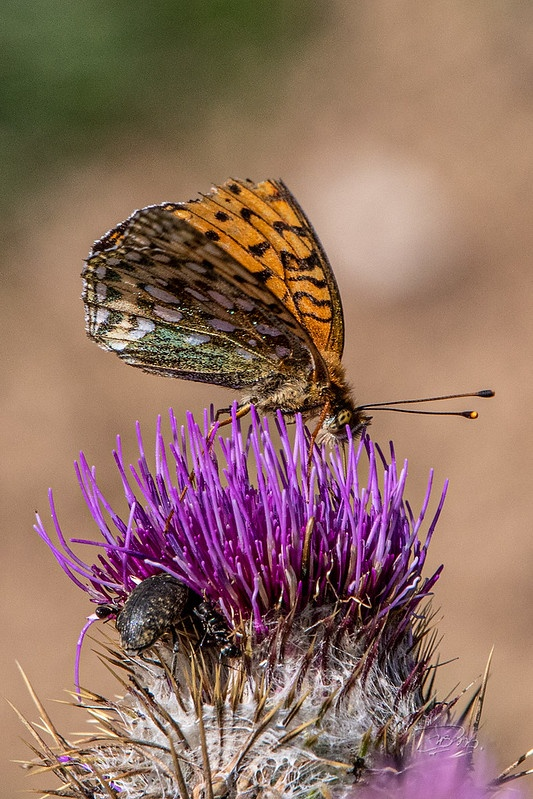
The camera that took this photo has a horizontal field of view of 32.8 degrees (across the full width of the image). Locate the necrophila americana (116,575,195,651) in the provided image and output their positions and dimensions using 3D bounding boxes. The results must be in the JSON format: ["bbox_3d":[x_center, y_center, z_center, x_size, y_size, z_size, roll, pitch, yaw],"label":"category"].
[{"bbox_3d":[-0.356,0.687,2.908,0.213,0.258,0.145,8,-16,-19],"label":"necrophila americana"}]

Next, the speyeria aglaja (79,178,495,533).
[{"bbox_3d":[0.004,-0.245,3.898,1.710,1.203,1.825,29,27,25],"label":"speyeria aglaja"}]
